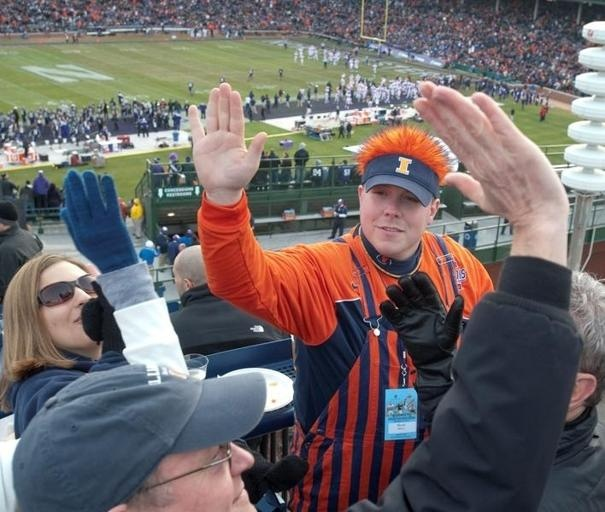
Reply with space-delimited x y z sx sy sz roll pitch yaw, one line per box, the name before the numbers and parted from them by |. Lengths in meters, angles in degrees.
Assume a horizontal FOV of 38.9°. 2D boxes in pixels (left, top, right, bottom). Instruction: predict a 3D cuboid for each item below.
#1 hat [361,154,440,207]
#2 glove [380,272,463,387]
hat | 0.497 -0.393 4.382 0.344 0.225 0.445 13 1 -4
glove | 0.509 0.277 3.485 0.306 0.572 0.157 -8 33 15
